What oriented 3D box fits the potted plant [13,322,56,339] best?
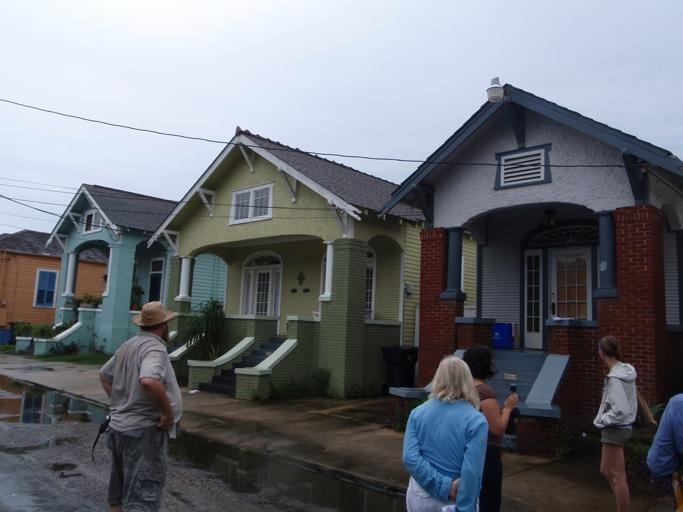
[{"bbox_3d":[-13.117,3.155,22.706,1.604,0.470,1.088,2,-7,8],"label":"potted plant"}]

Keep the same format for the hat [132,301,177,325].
[{"bbox_3d":[-1.817,0.576,5.271,0.330,0.119,0.350,1,14,20],"label":"hat"}]

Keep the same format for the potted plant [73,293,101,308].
[{"bbox_3d":[-10.911,1.980,22.914,1.044,0.329,0.996,1,-4,-28],"label":"potted plant"}]
